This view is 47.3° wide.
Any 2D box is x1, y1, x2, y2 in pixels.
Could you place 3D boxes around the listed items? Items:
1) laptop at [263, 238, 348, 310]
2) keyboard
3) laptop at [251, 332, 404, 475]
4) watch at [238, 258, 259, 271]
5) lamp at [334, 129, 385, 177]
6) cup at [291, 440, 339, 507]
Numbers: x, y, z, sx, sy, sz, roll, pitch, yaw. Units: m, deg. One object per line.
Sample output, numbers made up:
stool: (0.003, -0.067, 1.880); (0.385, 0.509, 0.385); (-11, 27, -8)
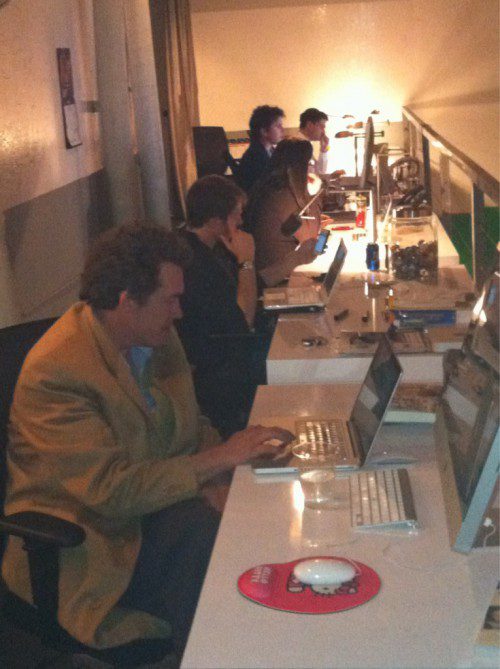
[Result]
laptop: (0.210, -0.168, 2.182); (0.344, 0.245, 0.411); (4, 28, 8)
keyboard: (0.216, 0.256, 0.941); (0.089, 0.156, 0.033); (-12, 39, 16)
laptop: (0.159, 0.174, 1.178); (0.263, 0.180, 0.319); (4, 14, 8)
watch: (-0.007, -0.302, 2.565); (0.061, 0.043, 0.068); (0, 5, 26)
lamp: (0.763, -1.294, 4.042); (0.405, 0.408, 0.418); (4, 25, 16)
cup: (0.123, 0.247, 1.016); (0.055, 0.031, 0.131); (-3, 13, 2)
